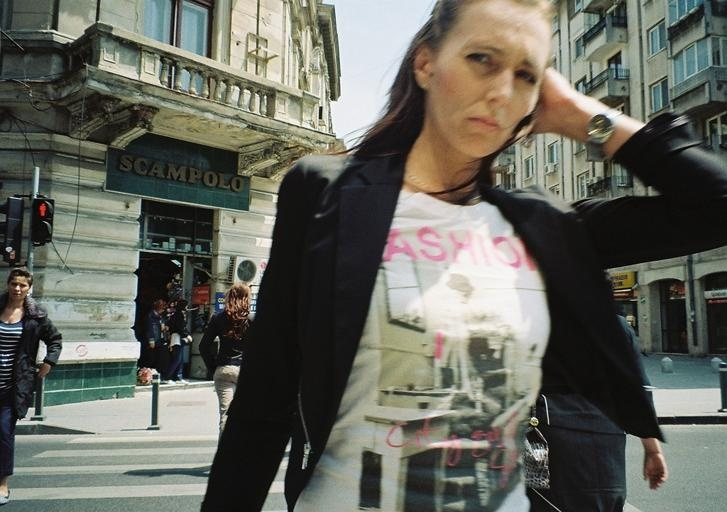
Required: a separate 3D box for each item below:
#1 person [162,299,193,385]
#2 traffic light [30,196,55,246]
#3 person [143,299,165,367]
[{"bbox_3d":[-3.856,1.750,14.101,0.517,1.690,0.905,1,-4,-15],"label":"person"},{"bbox_3d":[-4.814,-0.534,10.190,0.289,0.738,0.322,2,-4,-25],"label":"traffic light"},{"bbox_3d":[-4.168,1.600,13.629,0.375,1.386,0.483,-3,-5,41],"label":"person"}]
